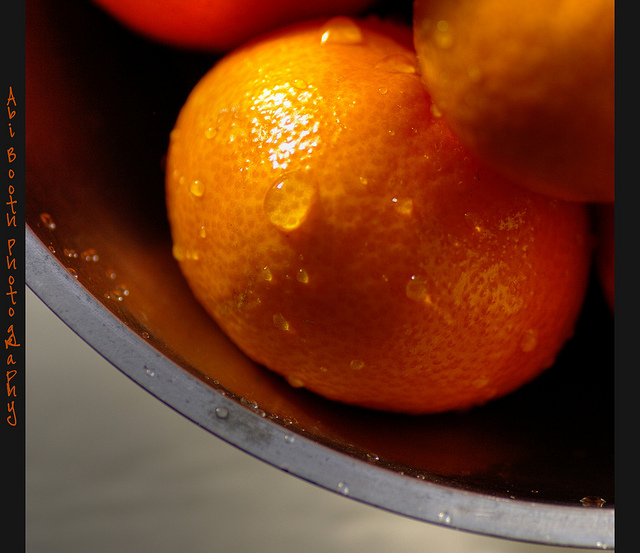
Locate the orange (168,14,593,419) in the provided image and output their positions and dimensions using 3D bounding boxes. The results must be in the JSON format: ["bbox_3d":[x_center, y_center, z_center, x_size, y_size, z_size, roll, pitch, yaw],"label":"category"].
[{"bbox_3d":[0.054,-0.039,0.506,0.137,0.232,0.274,-36,117,-39],"label":"orange"}]
